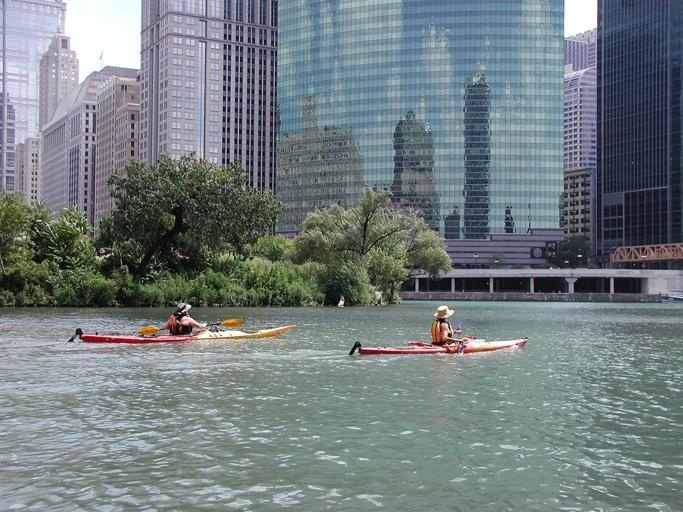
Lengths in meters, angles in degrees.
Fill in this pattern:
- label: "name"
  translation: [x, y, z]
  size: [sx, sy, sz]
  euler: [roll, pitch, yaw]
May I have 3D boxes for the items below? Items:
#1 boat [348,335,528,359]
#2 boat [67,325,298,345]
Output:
- label: "boat"
  translation: [4.659, 4.144, 41.438]
  size: [8.790, 0.764, 1.543]
  euler: [3, -3, -29]
- label: "boat"
  translation: [-7.920, 3.978, 44.888]
  size: [10.486, 0.749, 2.796]
  euler: [3, -3, -28]
